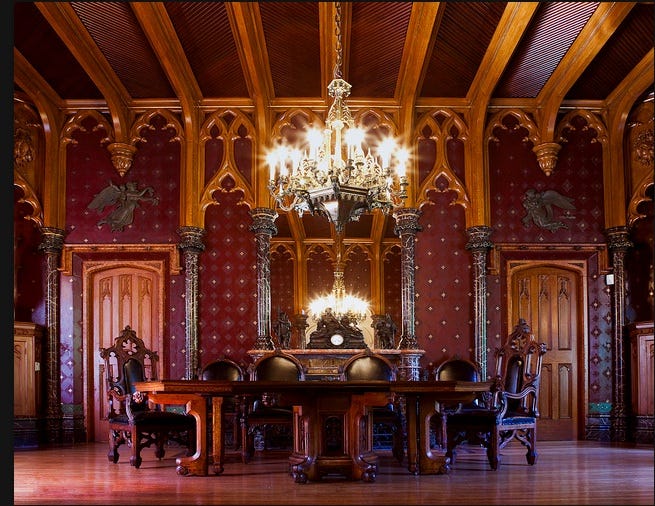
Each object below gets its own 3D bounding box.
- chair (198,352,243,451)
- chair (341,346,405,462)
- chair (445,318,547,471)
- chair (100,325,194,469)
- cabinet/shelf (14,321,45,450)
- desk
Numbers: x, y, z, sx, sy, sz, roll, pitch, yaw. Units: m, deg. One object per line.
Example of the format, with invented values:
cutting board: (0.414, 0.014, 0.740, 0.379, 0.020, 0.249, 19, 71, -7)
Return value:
chair: (-1.234, 1.763, 8.222, 0.652, 1.198, 0.759, 1, -24, -9)
chair: (0.503, 1.702, 7.750, 0.678, 1.223, 0.702, -8, -20, 6)
chair: (1.909, 1.602, 7.885, 1.103, 1.650, 1.117, -8, -15, 38)
chair: (-2.233, 1.706, 8.242, 1.010, 1.598, 0.933, -7, -10, 31)
cabinet/shelf: (-4.558, 1.981, 10.285, 0.309, 1.803, 0.614, -12, -17, 41)
desk: (-0.114, 1.785, 6.864, 3.151, 1.010, 1.007, -1, -13, -1)
